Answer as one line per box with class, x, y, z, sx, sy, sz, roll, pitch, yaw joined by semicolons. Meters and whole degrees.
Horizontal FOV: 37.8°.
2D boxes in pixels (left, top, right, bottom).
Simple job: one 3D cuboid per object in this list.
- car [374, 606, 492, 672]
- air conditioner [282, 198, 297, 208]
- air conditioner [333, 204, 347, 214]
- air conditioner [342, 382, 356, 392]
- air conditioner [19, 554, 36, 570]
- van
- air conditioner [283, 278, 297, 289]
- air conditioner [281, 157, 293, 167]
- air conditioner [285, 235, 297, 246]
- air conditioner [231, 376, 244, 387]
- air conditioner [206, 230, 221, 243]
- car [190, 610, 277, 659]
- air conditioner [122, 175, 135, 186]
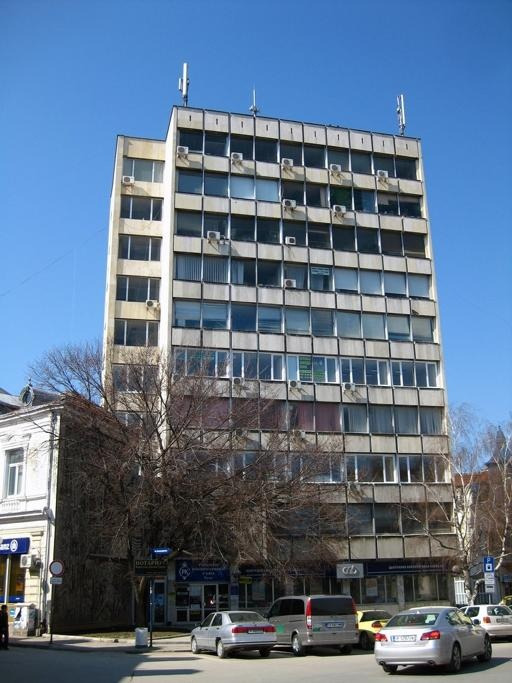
car;3.586;5.711;14.525;1.188;0.829;2.332;-9;-16;29
air conditioner;2.017;-8.235;44.584;0.862;0.680;0.606;1;-16;-11
air conditioner;5.131;-8.056;45.557;0.906;0.639;0.469;3;-16;-17
air conditioner;5.240;2.553;41.915;0.756;0.531;0.433;1;-6;6
air conditioner;-8.674;8.346;28.396;0.697;0.576;0.452;-16;-21;41
van;1.605;8.046;21.552;1.563;1.287;2.922;6;-20;-14
air conditioner;2.068;-3.336;43.297;1.005;0.729;0.291;10;-20;-38
air conditioner;1.903;-10.808;45.530;0.665;0.638;0.510;2;-9;-11
air conditioner;2.041;-5.953;44.183;0.789;0.775;0.497;1;-16;-13
air conditioner;-0.960;2.177;39.910;0.626;0.419;0.422;-1;-15;-6
air conditioner;-2.378;-5.970;42.516;0.613;0.487;0.636;2;-13;-8
car;-0.747;7.893;20.556;1.199;0.897;2.631;9;-19;-23
air conditioner;-7.654;-9.664;44.732;0.709;0.576;0.488;0;-16;-9
